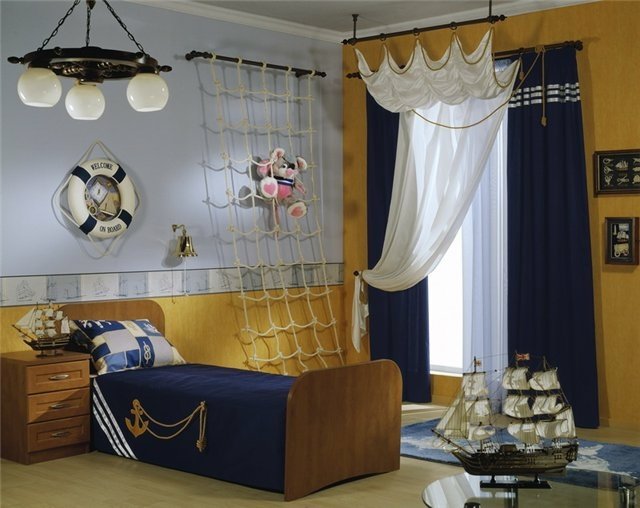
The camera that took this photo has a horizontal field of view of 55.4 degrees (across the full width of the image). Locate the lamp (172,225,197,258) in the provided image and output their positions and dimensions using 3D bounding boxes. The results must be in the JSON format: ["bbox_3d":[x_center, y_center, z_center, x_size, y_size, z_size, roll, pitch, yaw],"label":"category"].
[{"bbox_3d":[-1.163,-0.113,5.242,0.229,0.295,0.233,0,0,-26],"label":"lamp"}]

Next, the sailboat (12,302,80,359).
[{"bbox_3d":[-1.953,0.553,4.321,0.465,0.446,0.239,2,-3,-44],"label":"sailboat"}]

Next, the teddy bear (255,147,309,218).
[{"bbox_3d":[-0.397,-0.692,5.868,0.313,0.946,0.630,2,1,45],"label":"teddy bear"}]

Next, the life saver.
[{"bbox_3d":[-1.732,-0.435,4.817,0.139,0.581,0.510,-6,-1,35],"label":"life saver"}]

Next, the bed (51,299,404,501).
[{"bbox_3d":[-0.485,0.837,4.115,1.623,0.967,0.984,0,1,38],"label":"bed"}]
